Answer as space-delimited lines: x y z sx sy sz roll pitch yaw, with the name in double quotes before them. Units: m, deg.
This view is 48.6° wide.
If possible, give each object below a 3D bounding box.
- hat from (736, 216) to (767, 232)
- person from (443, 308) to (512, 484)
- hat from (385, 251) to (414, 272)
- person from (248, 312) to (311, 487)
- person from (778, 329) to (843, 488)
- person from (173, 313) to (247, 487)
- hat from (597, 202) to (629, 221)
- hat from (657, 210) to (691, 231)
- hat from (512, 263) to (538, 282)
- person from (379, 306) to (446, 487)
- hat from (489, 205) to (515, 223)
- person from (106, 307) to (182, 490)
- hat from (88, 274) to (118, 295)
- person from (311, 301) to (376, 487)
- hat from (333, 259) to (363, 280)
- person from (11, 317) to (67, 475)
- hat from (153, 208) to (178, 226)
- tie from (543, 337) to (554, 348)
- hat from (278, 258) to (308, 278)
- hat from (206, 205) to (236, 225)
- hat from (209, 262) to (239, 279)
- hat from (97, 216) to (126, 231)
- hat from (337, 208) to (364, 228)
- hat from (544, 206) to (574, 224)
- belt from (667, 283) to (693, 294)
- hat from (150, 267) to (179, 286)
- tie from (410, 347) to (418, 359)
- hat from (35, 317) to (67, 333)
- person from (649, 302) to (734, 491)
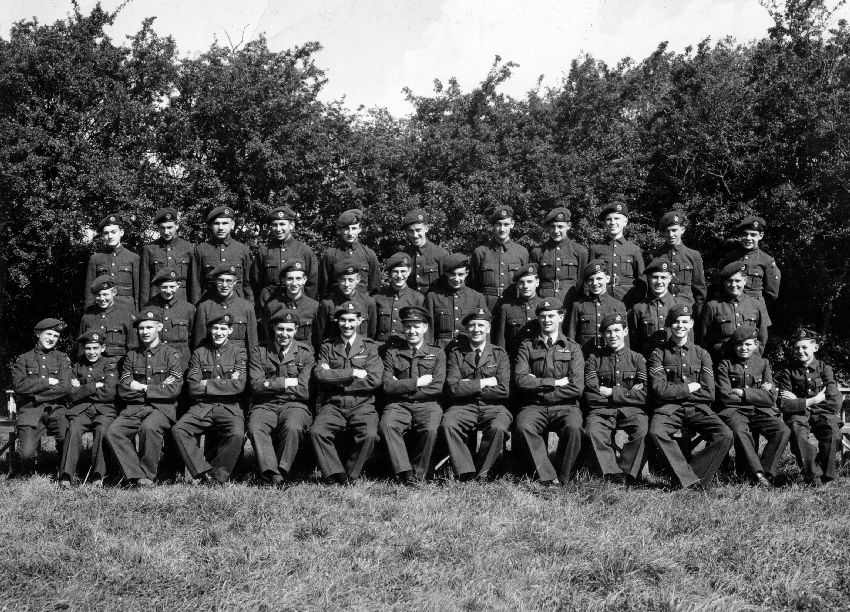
"hat" 4.638 -1.184 13.511 0.362 0.161 0.440 0 2 1
"person" 0.642 1.070 11.735 0.835 2.081 0.694 -3 -5 5
"hat" -0.349 -0.628 12.897 0.318 0.280 0.290 -1 -5 -14
"person" -1.755 1.095 11.662 0.809 2.127 0.763 -2 -5 -7
"person" 4.773 1.221 11.684 0.704 1.881 0.674 -4 -5 23
"person" -2.645 1.134 11.762 0.868 2.082 0.717 -2 -5 -6
"hat" 2.742 -1.380 13.390 0.378 0.163 0.279 -5 -6 -35
"hat" 3.547 -1.256 13.514 0.315 0.337 0.792 -4 -5 13
"hat" 1.359 -0.472 12.732 0.305 0.259 0.441 -3 -5 2
"person" -0.137 1.067 11.729 0.821 2.152 0.723 -3 -5 2
"hat" 1.081 -1.342 13.635 0.329 0.158 0.382 -10 3 -8
"person" -3.467 1.116 11.754 0.762 2.159 0.736 -3 -5 7
"hat" -4.354 -0.306 12.772 0.270 0.306 0.387 0 -6 -32
"person" -0.960 1.036 11.701 0.892 2.213 0.622 -2 -5 -2
"hat" -1.021 -0.508 12.368 0.328 0.255 0.338 -2 -5 -9
"person" -4.876 1.016 12.069 0.692 1.761 0.826 0 -5 -22
"hat" -3.648 -1.292 13.338 0.299 0.276 0.295 -1 -5 -21
"tie" 1.570 0.447 11.931 0.090 0.118 0.030 4 -25 4
"hat" -1.753 -0.525 12.618 0.366 0.222 0.303 0 -5 -25
"hat" -3.000 -1.315 13.458 0.434 0.191 0.513 -11 4 -39
"hat" -2.662 -0.490 12.511 0.281 0.224 0.393 0 -5 -23
"hat" -4.437 -1.186 13.268 0.423 0.183 0.468 -3 0 -28
"hat" -1.065 -1.240 13.180 0.320 0.310 0.391 -2 -5 -5
"hat" 1.913 -1.313 13.607 0.330 0.303 0.596 -3 -5 8
"belt" 3.613 -0.261 13.447 0.206 0.109 0.176 5 0 -3
"hat" -3.462 -0.406 12.621 0.344 0.240 0.325 -1 -5 -20
"tie" -0.141 0.591 11.937 0.077 0.129 0.031 1 -22 0
"hat" -5.019 0.257 12.448 0.350 0.119 0.317 -7 -5 31
"person" 3.185 1.072 11.628 0.978 2.222 0.787 -2 -5 -2
